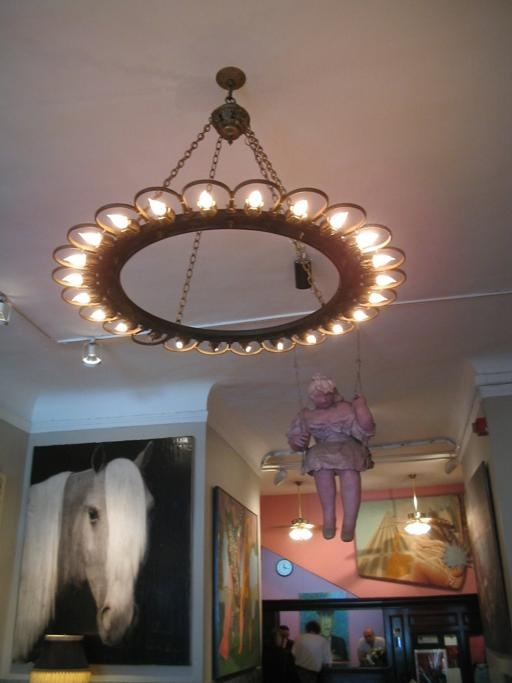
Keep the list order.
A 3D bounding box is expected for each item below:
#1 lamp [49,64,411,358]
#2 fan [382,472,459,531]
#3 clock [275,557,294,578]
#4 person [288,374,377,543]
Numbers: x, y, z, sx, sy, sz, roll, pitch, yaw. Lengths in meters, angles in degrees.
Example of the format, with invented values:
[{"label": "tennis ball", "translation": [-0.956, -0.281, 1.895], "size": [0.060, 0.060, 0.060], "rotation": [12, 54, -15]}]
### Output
[{"label": "lamp", "translation": [-0.050, -0.591, 2.680], "size": [1.599, 0.973, 1.464], "rotation": [6, -22, -13]}, {"label": "fan", "translation": [2.746, 2.709, 9.508], "size": [0.792, 0.906, 1.188], "rotation": [-16, -27, 37]}, {"label": "clock", "translation": [0.495, 3.941, 10.000], "size": [0.355, 0.326, 0.054], "rotation": [-6, -37, 10]}, {"label": "person", "translation": [0.488, 0.750, 3.729], "size": [0.564, 1.024, 0.530], "rotation": [-3, -23, 9]}]
